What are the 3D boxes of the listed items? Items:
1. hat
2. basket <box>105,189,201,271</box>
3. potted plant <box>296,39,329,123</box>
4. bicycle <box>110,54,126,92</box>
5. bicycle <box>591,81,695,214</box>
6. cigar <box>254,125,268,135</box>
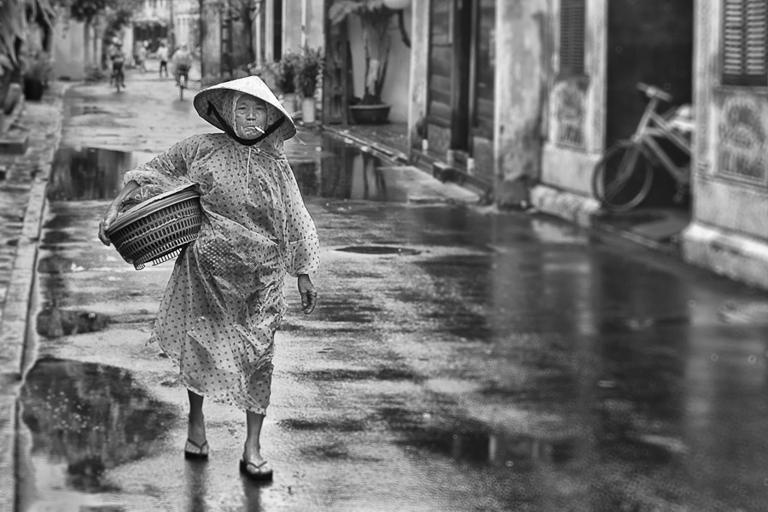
[{"bbox_3d":[-0.837,-0.868,5.075,0.426,0.440,0.222,21,59,20],"label":"hat"},{"bbox_3d":[-1.265,-0.166,5.015,0.452,0.245,0.459,-38,-3,24],"label":"basket"},{"bbox_3d":[-2.295,-5.270,27.416,0.893,2.330,0.894,-7,9,-39],"label":"potted plant"},{"bbox_3d":[-10.744,-7.406,35.791,0.566,0.792,1.230,1,5,-10],"label":"bicycle"},{"bbox_3d":[3.557,-1.456,12.196,1.283,1.704,0.754,5,11,22],"label":"bicycle"},{"bbox_3d":[-0.696,-0.712,5.001,0.012,0.047,0.037,-37,5,39],"label":"cigar"}]
